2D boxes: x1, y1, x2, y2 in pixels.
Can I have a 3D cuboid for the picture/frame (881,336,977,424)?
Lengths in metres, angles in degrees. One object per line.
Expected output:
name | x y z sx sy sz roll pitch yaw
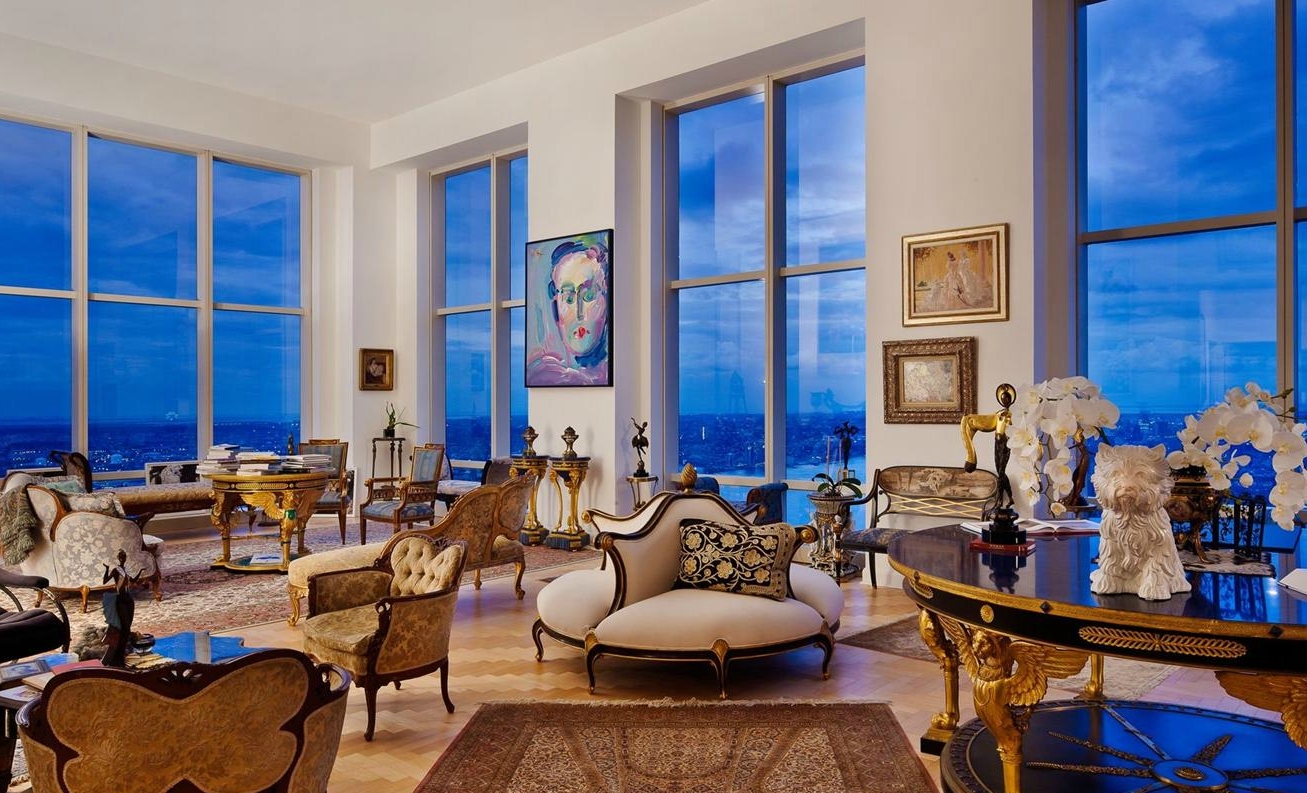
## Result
picture/frame | 2.871 -0.163 8.653 0.951 0.858 0.084 -1 -3 36

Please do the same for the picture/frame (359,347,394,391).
picture/frame | -4.440 -0.430 13.435 0.739 0.824 0.091 0 0 -42
